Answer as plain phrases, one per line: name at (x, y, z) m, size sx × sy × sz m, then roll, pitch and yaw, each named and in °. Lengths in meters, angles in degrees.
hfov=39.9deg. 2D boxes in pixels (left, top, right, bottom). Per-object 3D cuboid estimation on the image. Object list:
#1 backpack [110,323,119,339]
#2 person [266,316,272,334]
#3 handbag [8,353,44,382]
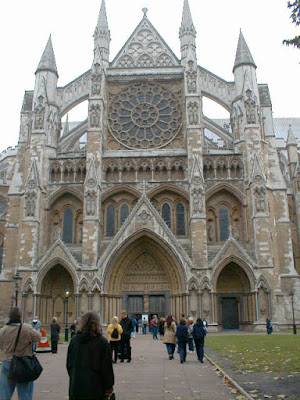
backpack at (-1.070, 3.921, 12.308) m, size 0.384 × 0.541 × 0.219 m, roll 0°, pitch -17°, yaw 2°
person at (7.380, 7.853, 25.666) m, size 0.313 × 0.913 × 0.720 m, roll -6°, pitch -18°, yaw 14°
handbag at (-1.559, 1.986, 5.093) m, size 0.184 × 0.506 × 0.427 m, roll -26°, pitch -31°, yaw 36°
